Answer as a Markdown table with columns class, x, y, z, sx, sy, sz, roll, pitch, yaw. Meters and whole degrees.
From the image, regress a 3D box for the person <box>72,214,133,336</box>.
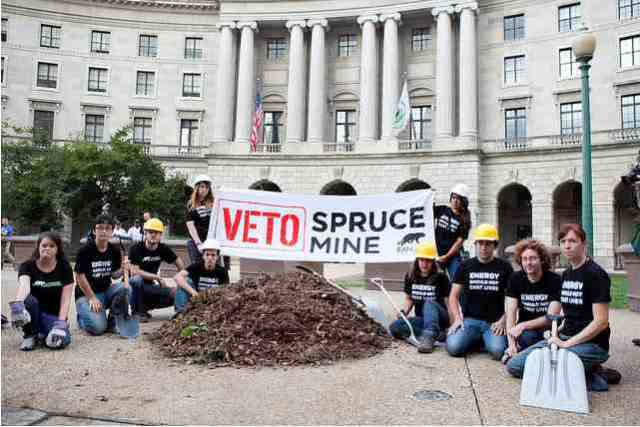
| class | x | y | z | sx | sy | sz | roll | pitch | yaw |
| --- | --- | --- | --- | --- | --- | --- | --- | --- | --- |
| person | -5.960 | 1.648 | 17.338 | 1.263 | 3.246 | 0.866 | -1 | 2 | -22 |

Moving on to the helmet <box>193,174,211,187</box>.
| class | x | y | z | sx | sy | sz | roll | pitch | yaw |
| --- | --- | --- | --- | --- | --- | --- | --- | --- | --- |
| helmet | -3.585 | -1.007 | 19.385 | 0.409 | 0.284 | 0.359 | 0 | 2 | 1 |

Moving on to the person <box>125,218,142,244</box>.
| class | x | y | z | sx | sy | sz | roll | pitch | yaw |
| --- | --- | --- | --- | --- | --- | --- | --- | --- | --- |
| person | -9.290 | 0.845 | 32.037 | 0.839 | 1.760 | 0.595 | -1 | -2 | -25 |

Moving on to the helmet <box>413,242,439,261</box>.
| class | x | y | z | sx | sy | sz | roll | pitch | yaw |
| --- | --- | --- | --- | --- | --- | --- | --- | --- | --- |
| helmet | 2.808 | 1.012 | 17.223 | 0.527 | 0.454 | 0.405 | 0 | 2 | 8 |

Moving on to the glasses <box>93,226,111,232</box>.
| class | x | y | z | sx | sy | sz | roll | pitch | yaw |
| --- | --- | --- | --- | --- | --- | --- | --- | --- | --- |
| glasses | -5.759 | 0.402 | 17.044 | 0.426 | 0.176 | 0.126 | -1 | 2 | -18 |

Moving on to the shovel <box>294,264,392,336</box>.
| class | x | y | z | sx | sy | sz | roll | pitch | yaw |
| --- | --- | --- | --- | --- | --- | --- | --- | --- | --- |
| shovel | 0.696 | 2.547 | 18.684 | 2.123 | 0.411 | 0.520 | 38 | 49 | 12 |

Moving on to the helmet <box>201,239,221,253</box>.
| class | x | y | z | sx | sy | sz | roll | pitch | yaw |
| --- | --- | --- | --- | --- | --- | --- | --- | --- | --- |
| helmet | -3.164 | 0.936 | 18.390 | 0.395 | 0.292 | 0.574 | 2 | -1 | -11 |

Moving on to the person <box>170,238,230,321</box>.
| class | x | y | z | sx | sy | sz | roll | pitch | yaw |
| --- | --- | --- | --- | --- | --- | --- | --- | --- | --- |
| person | -3.381 | 1.752 | 18.117 | 1.473 | 1.970 | 0.581 | -1 | 2 | -15 |

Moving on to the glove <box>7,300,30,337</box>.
| class | x | y | z | sx | sy | sz | roll | pitch | yaw |
| --- | --- | --- | --- | --- | --- | --- | --- | --- | --- |
| glove | -7.613 | 2.593 | 16.204 | 0.581 | 0.742 | 0.332 | -5 | -3 | -38 |

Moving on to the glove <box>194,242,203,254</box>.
| class | x | y | z | sx | sy | sz | roll | pitch | yaw |
| --- | --- | --- | --- | --- | --- | --- | --- | --- | --- |
| glove | -3.559 | 1.011 | 18.832 | 0.236 | 0.337 | 0.192 | 0 | 12 | 16 |

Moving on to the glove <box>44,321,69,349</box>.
| class | x | y | z | sx | sy | sz | roll | pitch | yaw |
| --- | --- | --- | --- | --- | --- | --- | --- | --- | --- |
| glove | -6.719 | 3.105 | 16.433 | 0.567 | 0.723 | 0.320 | -1 | 2 | -25 |

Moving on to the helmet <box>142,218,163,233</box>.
| class | x | y | z | sx | sy | sz | roll | pitch | yaw |
| --- | --- | --- | --- | --- | --- | --- | --- | --- | --- |
| helmet | -4.753 | 0.361 | 18.278 | 0.455 | 0.375 | 0.640 | -1 | 3 | -22 |
